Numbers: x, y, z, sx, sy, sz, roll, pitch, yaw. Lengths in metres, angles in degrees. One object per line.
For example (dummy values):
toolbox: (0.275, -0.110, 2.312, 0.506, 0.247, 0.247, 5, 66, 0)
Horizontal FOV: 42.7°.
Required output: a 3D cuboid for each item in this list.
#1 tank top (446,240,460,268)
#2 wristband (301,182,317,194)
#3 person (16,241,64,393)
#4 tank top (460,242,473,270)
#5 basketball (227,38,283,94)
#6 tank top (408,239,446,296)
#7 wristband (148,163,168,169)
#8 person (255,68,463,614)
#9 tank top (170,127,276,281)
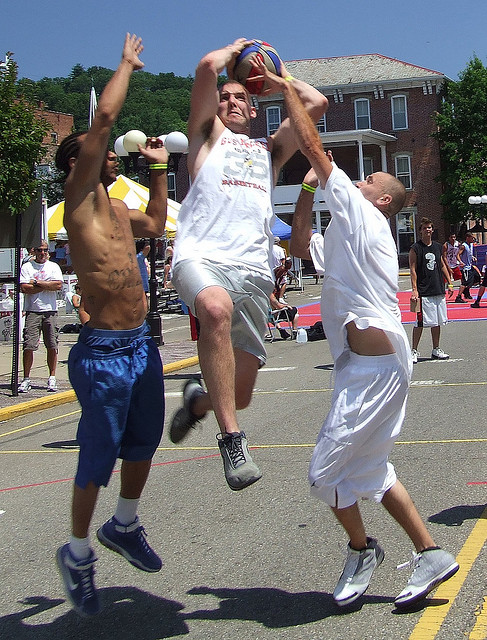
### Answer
tank top: (8.096, -2.502, 23.987, 0.499, 1.021, 1.138, -7, 0, 19)
wristband: (0.367, -0.732, 3.483, 0.062, 0.023, 0.052, 20, -5, 29)
person: (-3.144, -0.087, 9.574, 0.715, 2.244, 0.638, 2, -6, -35)
tank top: (8.458, -2.406, 23.617, 0.451, 1.011, 1.702, -7, 0, 18)
basketball: (0.053, -1.353, 3.334, 0.292, 0.292, 0.220, -6, 0, 1)
tank top: (3.189, -0.891, 10.666, 0.515, 0.939, 0.357, -7, 0, 4)
wristband: (-0.481, -0.831, 3.410, 0.064, 0.021, 0.052, -1, 4, 8)
person: (0.579, -0.056, 3.086, 0.729, 2.317, 1.378, -7, 0, 4)
tank top: (-0.101, -0.597, 3.129, 0.591, 0.754, 0.281, -7, 0, -15)
